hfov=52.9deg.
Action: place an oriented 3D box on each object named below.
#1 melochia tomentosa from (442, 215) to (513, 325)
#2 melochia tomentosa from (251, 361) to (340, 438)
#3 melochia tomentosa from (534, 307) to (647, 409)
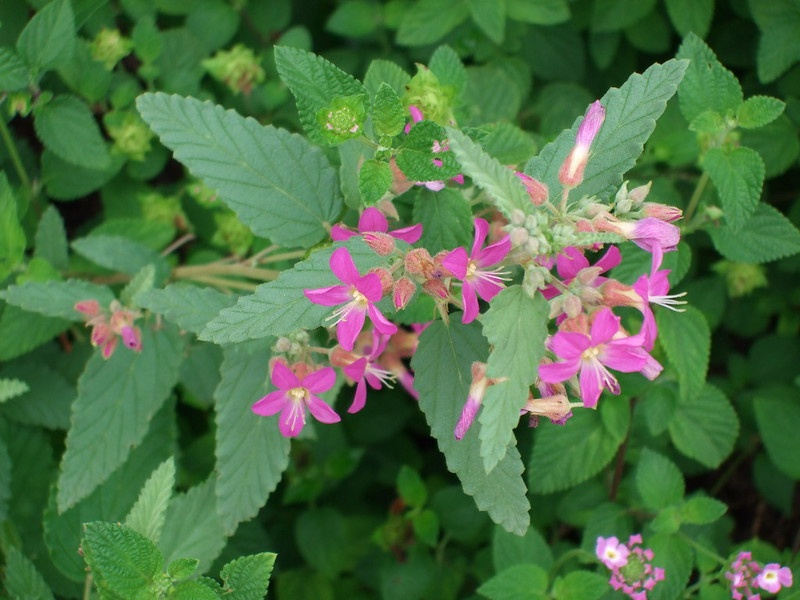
[{"bbox_3d":[0.224,-0.092,2.565,0.236,0.328,0.115,5,10,-31],"label":"melochia tomentosa"},{"bbox_3d":[-0.349,0.311,2.713,0.237,0.166,0.332,-12,36,18],"label":"melochia tomentosa"},{"bbox_3d":[0.585,0.149,2.478,0.314,0.216,0.331,-15,5,4],"label":"melochia tomentosa"}]
